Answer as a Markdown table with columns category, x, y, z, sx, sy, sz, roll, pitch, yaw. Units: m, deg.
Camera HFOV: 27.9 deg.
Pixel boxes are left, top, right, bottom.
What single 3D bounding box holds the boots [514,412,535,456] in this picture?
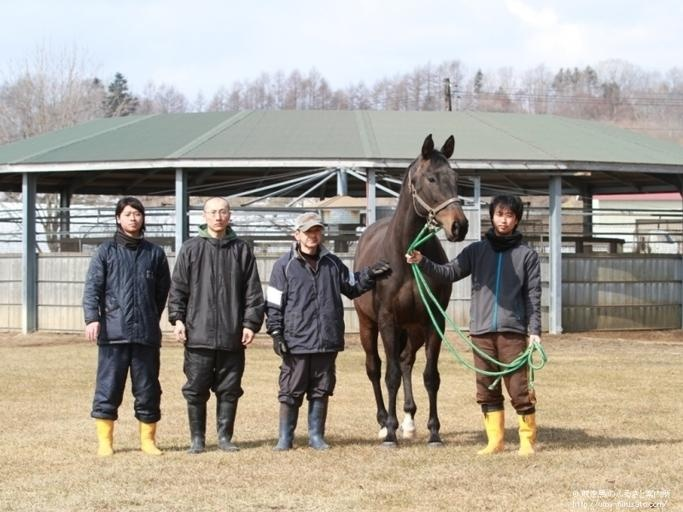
| category | x | y | z | sx | sy | sz | roll | pitch | yaw |
| --- | --- | --- | --- | --- | --- | --- | --- | --- | --- |
| boots | 2.890 | 2.736 | 21.182 | 0.271 | 0.623 | 0.540 | -1 | 3 | 8 |

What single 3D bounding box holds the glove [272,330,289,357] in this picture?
| category | x | y | z | sx | sy | sz | roll | pitch | yaw |
| --- | --- | --- | --- | --- | --- | --- | --- | --- | --- |
| glove | -0.943 | 1.376 | 21.221 | 0.213 | 0.409 | 0.110 | -8 | -4 | -43 |

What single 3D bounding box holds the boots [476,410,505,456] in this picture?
| category | x | y | z | sx | sy | sz | roll | pitch | yaw |
| --- | --- | --- | --- | --- | --- | --- | --- | --- | --- |
| boots | 2.384 | 2.723 | 21.123 | 0.576 | 0.861 | 0.442 | 1 | -3 | -3 |

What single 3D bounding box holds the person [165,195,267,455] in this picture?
| category | x | y | z | sx | sy | sz | roll | pitch | yaw |
| --- | --- | --- | --- | --- | --- | --- | --- | --- | --- |
| person | -1.945 | 1.070 | 21.223 | 1.409 | 3.919 | 0.478 | -2 | 3 | -8 |

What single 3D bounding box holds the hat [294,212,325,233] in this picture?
| category | x | y | z | sx | sy | sz | roll | pitch | yaw |
| --- | --- | --- | --- | --- | --- | --- | --- | --- | --- |
| hat | -0.482 | -0.515 | 21.251 | 0.438 | 0.285 | 0.236 | -2 | 3 | -3 |
